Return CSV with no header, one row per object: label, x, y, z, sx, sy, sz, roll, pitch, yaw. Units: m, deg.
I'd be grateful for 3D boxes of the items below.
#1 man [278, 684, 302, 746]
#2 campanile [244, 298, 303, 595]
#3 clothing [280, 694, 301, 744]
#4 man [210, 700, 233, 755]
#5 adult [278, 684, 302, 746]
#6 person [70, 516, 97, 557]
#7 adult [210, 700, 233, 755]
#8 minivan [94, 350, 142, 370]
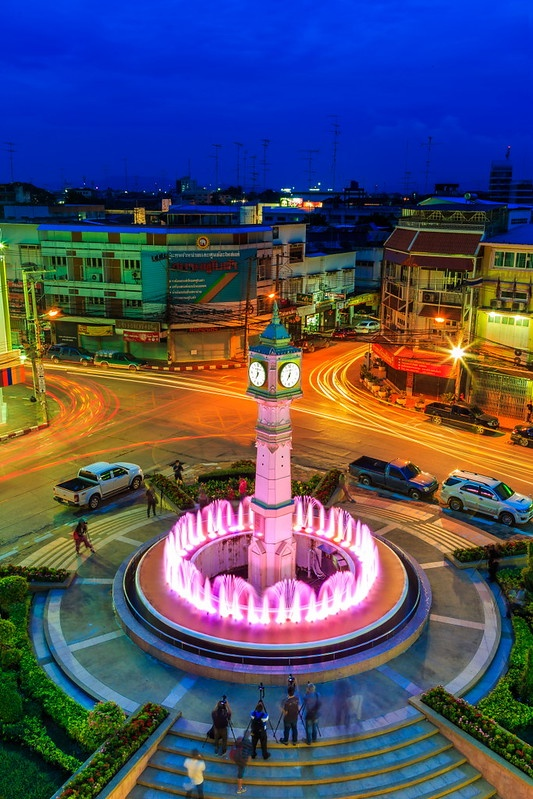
man,0.501,6.737,12.220,0.412,1.301,0.334,-4,10,-16
campanile,0.226,1.697,17.740,1.548,9.176,1.119,1,11,3
clothing,0.525,6.736,12.187,0.380,1.218,0.343,0,4,-5
man,-0.957,6.813,12.084,0.425,1.577,0.808,0,11,-5
adult,0.502,6.728,12.209,0.399,1.301,0.341,-5,12,-18
person,-7.316,5.441,22.973,0.741,1.394,1.265,-3,11,-18
adult,-0.957,6.813,12.084,0.425,1.577,0.808,0,11,-5
minivan,-15.367,-3.956,59.071,4.235,1.582,2.131,3,14,14
